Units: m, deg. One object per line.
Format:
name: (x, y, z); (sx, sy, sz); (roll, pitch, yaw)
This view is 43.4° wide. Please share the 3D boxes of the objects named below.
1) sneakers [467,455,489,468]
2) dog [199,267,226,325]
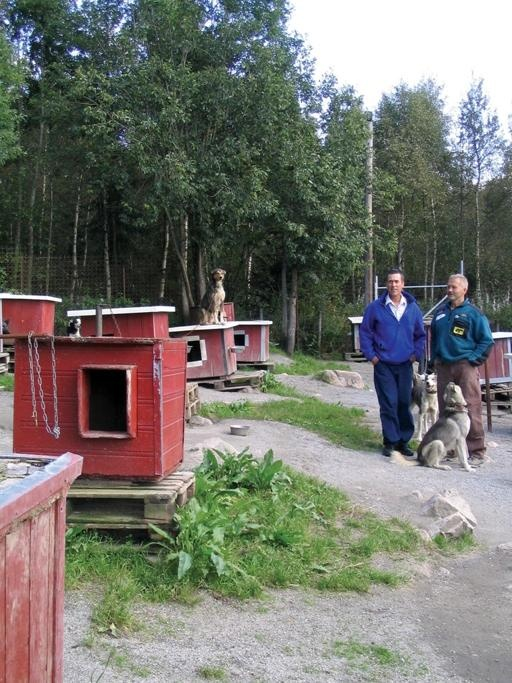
sneakers: (2.478, 1.331, 7.192); (0.104, 0.137, 0.313); (-2, -12, 10)
dog: (-0.857, -0.979, 13.925); (0.539, 1.083, 1.751); (11, 8, -5)
